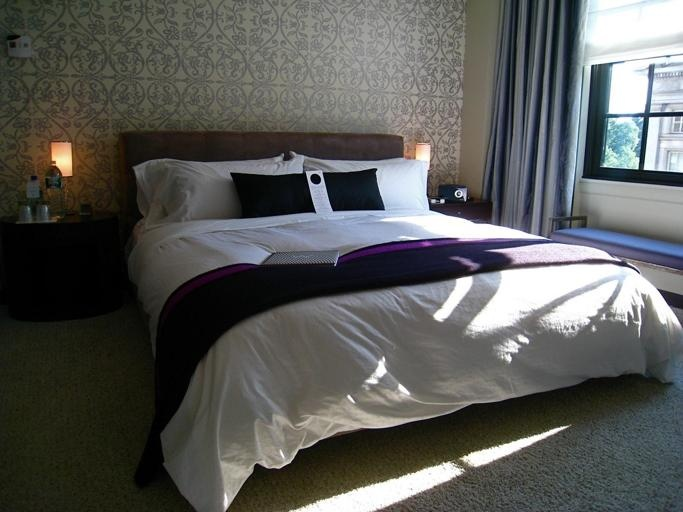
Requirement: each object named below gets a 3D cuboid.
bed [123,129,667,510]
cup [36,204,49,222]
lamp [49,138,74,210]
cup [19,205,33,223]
[{"bbox_3d":[0.050,-0.057,3.257,2.867,1.447,2.916,-8,17,-26],"label":"bed"},{"bbox_3d":[-2.119,-0.305,3.474,0.100,0.128,0.101,1,8,0],"label":"cup"},{"bbox_3d":[-2.124,-0.621,3.772,0.157,0.520,0.213,-9,17,-29],"label":"lamp"},{"bbox_3d":[-2.211,-0.299,3.425,0.081,0.112,0.143,-10,18,-33],"label":"cup"}]
